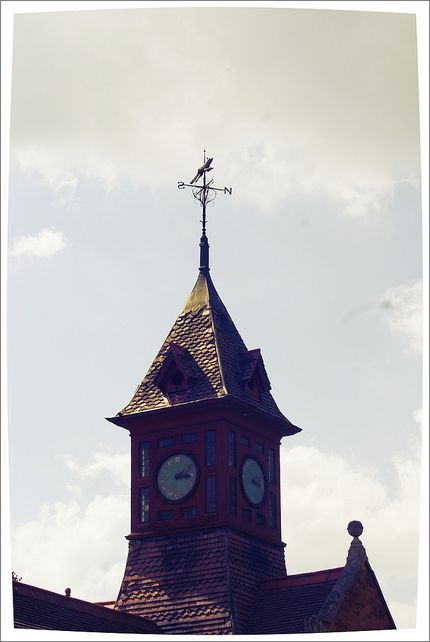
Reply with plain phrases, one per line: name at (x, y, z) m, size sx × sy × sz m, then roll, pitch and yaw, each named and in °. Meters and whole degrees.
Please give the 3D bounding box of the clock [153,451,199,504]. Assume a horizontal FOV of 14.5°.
clock at (-1.108, 4.677, 50.398) m, size 1.186 × 1.370 × 0.093 m, roll 14°, pitch -15°, yaw 33°

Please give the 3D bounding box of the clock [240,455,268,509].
clock at (1.163, 4.875, 51.127) m, size 0.082 × 1.359 × 1.232 m, roll -14°, pitch -26°, yaw 25°
